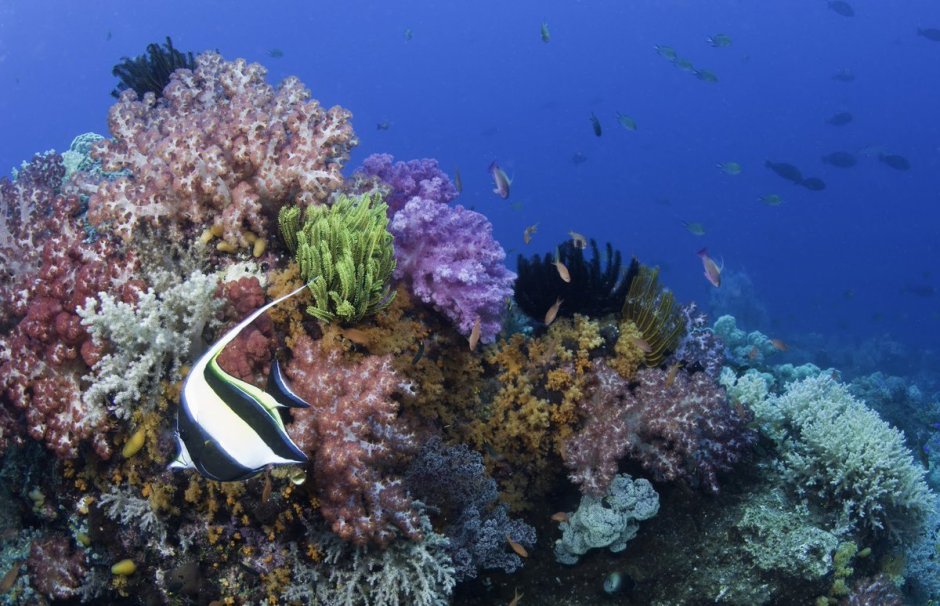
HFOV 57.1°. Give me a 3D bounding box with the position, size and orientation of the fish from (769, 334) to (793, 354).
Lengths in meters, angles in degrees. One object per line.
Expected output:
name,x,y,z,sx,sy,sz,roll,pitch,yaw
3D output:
fish,7.928,1.062,22.076,0.400,0.951,0.238,6,83,16

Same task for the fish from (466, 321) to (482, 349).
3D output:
fish,-0.002,0.444,12.262,0.282,0.330,0.075,14,-3,-39
